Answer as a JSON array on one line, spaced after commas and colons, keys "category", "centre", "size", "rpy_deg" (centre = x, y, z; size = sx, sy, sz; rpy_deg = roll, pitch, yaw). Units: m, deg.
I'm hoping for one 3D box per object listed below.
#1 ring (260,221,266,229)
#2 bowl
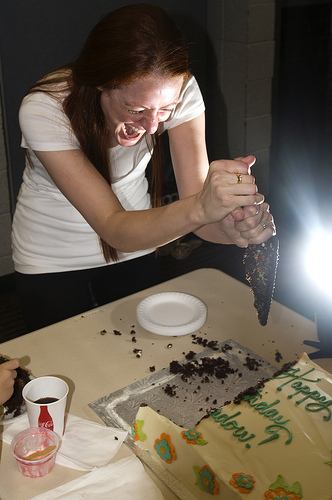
[{"category": "ring", "centre": [0.234, -0.060, 1.026], "size": [0.004, 0.015, 0.014], "rpy_deg": [-36, -6, 27]}, {"category": "bowl", "centre": [-0.234, 0.357, 0.780], "size": [0.089, 0.051, 0.084], "rpy_deg": [5, 32, -3]}]
